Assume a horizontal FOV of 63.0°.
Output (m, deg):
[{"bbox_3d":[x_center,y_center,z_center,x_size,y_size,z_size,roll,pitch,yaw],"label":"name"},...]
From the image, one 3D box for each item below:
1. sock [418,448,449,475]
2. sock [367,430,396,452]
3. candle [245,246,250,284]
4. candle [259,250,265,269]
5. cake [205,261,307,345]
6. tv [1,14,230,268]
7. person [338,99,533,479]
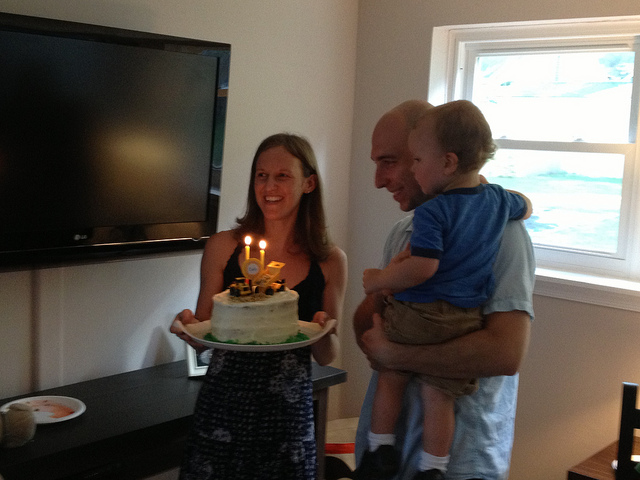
[{"bbox_3d":[0.341,0.667,1.599,0.064,0.068,0.076,6,6,-21],"label":"sock"},{"bbox_3d":[0.194,0.635,1.662,0.070,0.043,0.056,0,-3,15],"label":"sock"},{"bbox_3d":[-0.257,0.087,1.856,0.010,0.134,0.059,0,7,-13],"label":"candle"},{"bbox_3d":[-0.205,0.059,1.845,0.010,0.055,0.037,0,8,-15],"label":"candle"},{"bbox_3d":[-0.237,0.201,1.853,0.347,0.239,0.341,-6,9,-35],"label":"cake"},{"bbox_3d":[-0.904,-0.428,2.246,1.234,0.878,0.121,-4,12,-39],"label":"tv"},{"bbox_3d":[0.384,0.171,1.648,0.513,1.211,0.309,4,8,15],"label":"person"}]
